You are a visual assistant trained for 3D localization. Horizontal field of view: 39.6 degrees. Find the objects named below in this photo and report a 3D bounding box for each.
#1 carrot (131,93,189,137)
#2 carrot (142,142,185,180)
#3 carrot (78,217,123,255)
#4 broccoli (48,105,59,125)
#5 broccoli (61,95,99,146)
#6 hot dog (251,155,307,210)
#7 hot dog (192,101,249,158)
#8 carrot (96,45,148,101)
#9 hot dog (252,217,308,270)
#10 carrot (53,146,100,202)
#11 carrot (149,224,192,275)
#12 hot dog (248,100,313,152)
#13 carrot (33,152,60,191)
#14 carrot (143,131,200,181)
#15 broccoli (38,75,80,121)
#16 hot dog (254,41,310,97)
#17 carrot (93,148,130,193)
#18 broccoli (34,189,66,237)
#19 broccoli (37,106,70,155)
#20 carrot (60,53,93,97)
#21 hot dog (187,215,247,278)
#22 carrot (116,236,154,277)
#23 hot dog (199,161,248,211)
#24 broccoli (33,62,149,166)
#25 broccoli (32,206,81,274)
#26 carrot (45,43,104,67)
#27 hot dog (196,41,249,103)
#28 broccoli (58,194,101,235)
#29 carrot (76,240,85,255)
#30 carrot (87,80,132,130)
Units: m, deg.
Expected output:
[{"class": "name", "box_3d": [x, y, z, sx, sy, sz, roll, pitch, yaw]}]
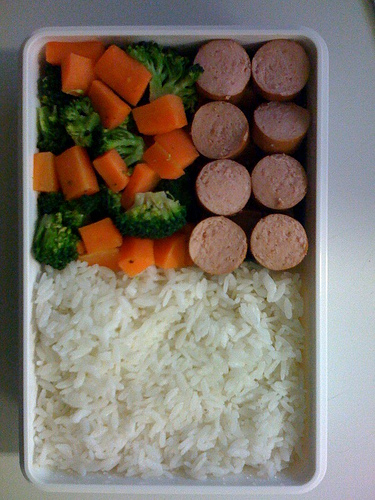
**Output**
[{"class": "carrot", "box_3d": [-0.096, -0.485, 1.865, 0.152, 0.081, 0.100, -8, 106, 26]}, {"class": "carrot", "box_3d": [-0.091, -0.320, 1.883, 0.084, 0.077, 0.141, -39, 77, -9]}, {"class": "carrot", "box_3d": [-0.314, -0.049, 1.892, 0.139, 0.071, 0.102, -19, 75, -5]}, {"class": "broccoli", "box_3d": [-0.481, -0.485, 1.863, 0.037, 0.032, 0.061, -12, 74, -2]}, {"class": "broccoli", "box_3d": [-0.374, -0.460, 1.845, 0.131, 0.090, 0.156, -41, 78, -10]}, {"class": "hot dog", "box_3d": [0.322, -0.244, 1.861, 0.182, 0.064, 0.178, 11, 74, 4]}, {"class": "hot dog", "box_3d": [0.115, -0.430, 1.867, 0.196, 0.084, 0.182, -3, 74, 0]}, {"class": "carrot", "box_3d": [-0.217, -0.640, 1.851, 0.180, 0.084, 0.138, 38, 78, 10]}, {"class": "hot dog", "box_3d": [0.355, -0.038, 1.877, 0.053, 0.219, 0.203, -12, 116, -39]}, {"class": "carrot", "box_3d": [-0.434, -0.275, 1.901, 0.125, 0.134, 0.169, -7, 80, -44]}, {"class": "carrot", "box_3d": [-0.058, -0.012, 1.971, 0.196, 0.148, 0.248, 0, 104, -4]}, {"class": "hot dog", "box_3d": [0.340, -0.443, 1.914, 0.218, 0.137, 0.185, -1, 74, 0]}, {"class": "carrot", "box_3d": [-0.515, -0.284, 1.913, 0.104, 0.101, 0.131, -4, 92, -28]}, {"class": "carrot", "box_3d": [-0.043, -0.359, 1.912, 0.191, 0.068, 0.191, -19, 59, -27]}, {"class": "broccoli", "box_3d": [-0.458, -0.562, 1.925, 0.160, 0.163, 0.070, -9, 84, 27]}, {"class": "hot dog", "box_3d": [0.331, -0.648, 1.843, 0.191, 0.058, 0.182, 18, 75, 6]}, {"class": "carrot", "box_3d": [-0.274, -0.292, 1.877, 0.087, 0.083, 0.150, -49, 114, -16]}, {"class": "broccoli", "box_3d": [-0.504, -0.142, 1.907, 0.135, 0.051, 0.155, 5, 97, 17]}, {"class": "broccoli", "box_3d": [-0.484, -0.433, 1.911, 0.054, 0.217, 0.140, 32, 44, 6]}, {"class": "carrot", "box_3d": [-0.390, -0.620, 1.857, 0.147, 0.135, 0.128, -3, 100, -5]}, {"class": "hot dog", "box_3d": [0.110, -0.017, 1.881, 0.200, 0.097, 0.188, 28, 76, 8]}, {"class": "carrot", "box_3d": [-0.188, 0.017, 1.964, 0.137, 0.130, 0.130, 3, 105, -21]}, {"class": "hot dog", "box_3d": [0.128, -0.227, 1.863, 0.167, 0.065, 0.161, 2, 74, 1]}, {"class": "broccoli", "box_3d": [-0.335, -0.459, 1.995, 0.386, 0.109, 0.378, 2, 96, 1]}, {"class": "broccoli", "box_3d": [-0.459, -0.038, 1.810, 0.193, 0.081, 0.212, -4, 91, -6]}, {"class": "carrot", "box_3d": [-0.403, -0.699, 1.857, 0.155, 0.033, 0.078, 1, 101, -9]}, {"class": "hot dog", "box_3d": [0.122, -0.636, 1.852, 0.202, 0.127, 0.191, -8, 96, 8]}, {"class": "broccoli", "box_3d": [-0.394, -0.132, 1.936, 0.158, 0.066, 0.109, -38, 90, -10]}, {"class": "carrot", "box_3d": [-0.395, -0.008, 1.927, 0.043, 0.011, 0.037, -4, 102, -42]}, {"class": "carrot", "box_3d": [-0.286, -0.525, 1.860, 0.165, 0.092, 0.117, 45, 41, 1]}]
